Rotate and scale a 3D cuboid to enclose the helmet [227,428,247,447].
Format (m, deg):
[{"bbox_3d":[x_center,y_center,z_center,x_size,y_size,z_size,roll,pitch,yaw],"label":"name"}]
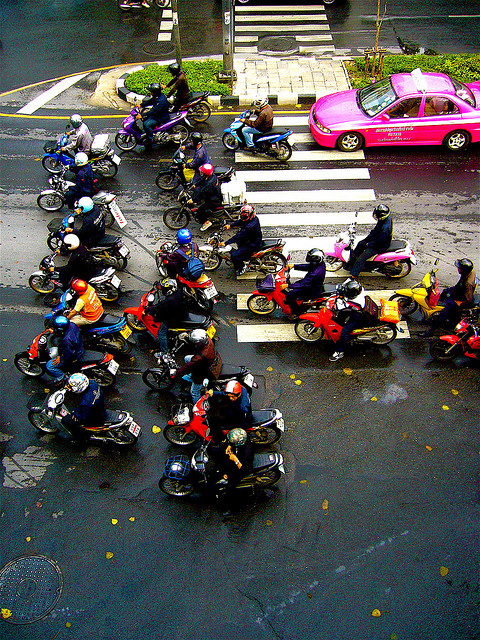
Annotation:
[{"bbox_3d":[-0.036,1.363,6.531,0.207,0.194,0.110,-34,-17,-10],"label":"helmet"}]

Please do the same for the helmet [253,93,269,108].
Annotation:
[{"bbox_3d":[0.464,-4.909,12.628,0.259,0.276,0.288,5,22,28],"label":"helmet"}]

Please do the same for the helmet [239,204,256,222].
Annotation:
[{"bbox_3d":[0.116,-1.831,9.660,0.243,0.296,0.284,-7,20,-1],"label":"helmet"}]

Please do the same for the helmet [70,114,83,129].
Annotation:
[{"bbox_3d":[-3.514,-4.224,11.991,0.218,0.286,0.413,-10,20,-10],"label":"helmet"}]

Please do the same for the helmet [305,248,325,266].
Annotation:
[{"bbox_3d":[1.171,-0.990,8.866,0.286,0.228,0.201,11,59,4],"label":"helmet"}]

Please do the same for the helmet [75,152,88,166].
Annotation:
[{"bbox_3d":[-3.107,-3.111,10.912,0.227,0.230,0.360,-12,20,-14],"label":"helmet"}]

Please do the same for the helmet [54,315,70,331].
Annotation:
[{"bbox_3d":[-2.521,0.029,7.988,0.203,0.217,0.202,33,38,25],"label":"helmet"}]

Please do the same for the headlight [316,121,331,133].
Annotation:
[{"bbox_3d":[1.952,-4.551,13.296,0.106,0.262,0.371,-18,23,-27],"label":"headlight"}]

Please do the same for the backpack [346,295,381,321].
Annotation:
[{"bbox_3d":[1.910,-0.177,8.803,0.518,0.444,0.334,15,55,8],"label":"backpack"}]

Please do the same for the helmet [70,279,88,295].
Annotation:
[{"bbox_3d":[-2.517,-0.520,8.763,0.204,0.210,0.313,-19,23,-32],"label":"helmet"}]

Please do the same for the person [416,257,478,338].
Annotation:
[{"bbox_3d":[3.404,-0.318,9.096,0.440,1.474,0.837,-18,23,-25],"label":"person"}]

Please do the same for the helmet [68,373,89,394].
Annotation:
[{"bbox_3d":[-2.081,0.813,7.257,0.223,0.243,0.262,-4,-3,-9],"label":"helmet"}]

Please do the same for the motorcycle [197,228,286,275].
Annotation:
[{"bbox_3d":[0.006,-1.258,10.512,1.690,0.952,0.803,3,63,8],"label":"motorcycle"}]

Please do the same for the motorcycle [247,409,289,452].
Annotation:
[{"bbox_3d":[0.373,1.500,7.750,0.793,0.378,0.483,-5,-21,10],"label":"motorcycle"}]

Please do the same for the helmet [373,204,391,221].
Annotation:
[{"bbox_3d":[2.386,-1.826,9.510,0.311,0.229,0.260,14,-16,1],"label":"helmet"}]

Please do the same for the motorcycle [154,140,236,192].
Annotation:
[{"bbox_3d":[-0.929,-3.313,12.204,2.080,0.879,1.186,0,-24,2],"label":"motorcycle"}]

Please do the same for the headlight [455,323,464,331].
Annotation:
[{"bbox_3d":[3.404,0.119,8.762,0.076,0.109,0.108,-14,21,-20],"label":"headlight"}]

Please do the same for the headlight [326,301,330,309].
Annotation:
[{"bbox_3d":[1.397,-0.234,9.011,0.046,0.091,0.103,-11,20,-11],"label":"headlight"}]

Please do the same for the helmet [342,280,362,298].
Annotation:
[{"bbox_3d":[1.686,-0.457,8.557,0.229,0.193,0.282,-12,-21,-39],"label":"helmet"}]

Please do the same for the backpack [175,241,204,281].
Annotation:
[{"bbox_3d":[-0.872,-0.968,9.495,0.413,0.524,0.580,-17,46,-30],"label":"backpack"}]

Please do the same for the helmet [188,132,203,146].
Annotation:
[{"bbox_3d":[-0.936,-3.807,11.866,0.239,0.252,0.341,-9,20,-7],"label":"helmet"}]

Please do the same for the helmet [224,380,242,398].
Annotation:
[{"bbox_3d":[-0.093,0.866,6.861,0.206,0.222,0.201,-7,20,-3],"label":"helmet"}]

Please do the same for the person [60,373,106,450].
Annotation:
[{"bbox_3d":[-2.175,1.287,7.719,0.629,0.993,0.518,18,56,-8],"label":"person"}]

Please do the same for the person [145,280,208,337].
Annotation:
[{"bbox_3d":[-0.786,-0.161,8.602,1.138,0.605,0.693,10,-13,11],"label":"person"}]

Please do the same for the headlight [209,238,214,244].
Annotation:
[{"bbox_3d":[-0.539,-1.455,10.475,0.071,0.094,0.080,-12,21,-14],"label":"headlight"}]

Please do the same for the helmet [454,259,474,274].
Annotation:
[{"bbox_3d":[3.434,-0.808,8.619,0.187,0.197,0.238,2,-23,40],"label":"helmet"}]

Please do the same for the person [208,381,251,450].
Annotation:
[{"bbox_3d":[-0.103,1.156,7.070,0.588,0.903,0.478,-13,21,-16],"label":"person"}]

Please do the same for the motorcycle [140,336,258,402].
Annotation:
[{"bbox_3d":[-0.573,0.622,8.500,1.802,0.861,1.077,9,-24,1],"label":"motorcycle"}]

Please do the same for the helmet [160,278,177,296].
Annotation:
[{"bbox_3d":[-1.101,-0.467,8.390,0.271,0.188,0.260,12,-36,-37],"label":"helmet"}]

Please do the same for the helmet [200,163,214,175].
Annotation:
[{"bbox_3d":[-0.640,-2.873,10.724,0.243,0.165,0.213,17,-20,-10],"label":"helmet"}]

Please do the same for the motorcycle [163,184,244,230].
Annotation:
[{"bbox_3d":[-0.727,-2.152,11.464,1.772,0.735,1.004,-2,-18,1],"label":"motorcycle"}]

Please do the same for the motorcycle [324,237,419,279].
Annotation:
[{"bbox_3d":[2.356,-1.023,10.315,1.680,0.715,0.924,0,-25,3],"label":"motorcycle"}]

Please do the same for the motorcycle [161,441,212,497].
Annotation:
[{"bbox_3d":[-0.641,1.946,7.255,0.907,0.487,0.508,1,-28,-7],"label":"motorcycle"}]

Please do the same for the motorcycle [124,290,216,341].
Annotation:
[{"bbox_3d":[-1.219,-0.026,8.974,1.427,0.821,0.726,15,64,9],"label":"motorcycle"}]

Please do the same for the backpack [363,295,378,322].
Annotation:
[{"bbox_3d":[2.027,-0.167,8.768,0.113,0.393,0.304,-14,20,37],"label":"backpack"}]

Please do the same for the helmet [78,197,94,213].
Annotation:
[{"bbox_3d":[-2.727,-2.049,9.924,0.285,0.196,0.261,-6,-15,-14],"label":"helmet"}]

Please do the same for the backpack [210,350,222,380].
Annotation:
[{"bbox_3d":[-0.341,0.645,7.871,0.101,0.315,0.307,-2,20,13],"label":"backpack"}]
